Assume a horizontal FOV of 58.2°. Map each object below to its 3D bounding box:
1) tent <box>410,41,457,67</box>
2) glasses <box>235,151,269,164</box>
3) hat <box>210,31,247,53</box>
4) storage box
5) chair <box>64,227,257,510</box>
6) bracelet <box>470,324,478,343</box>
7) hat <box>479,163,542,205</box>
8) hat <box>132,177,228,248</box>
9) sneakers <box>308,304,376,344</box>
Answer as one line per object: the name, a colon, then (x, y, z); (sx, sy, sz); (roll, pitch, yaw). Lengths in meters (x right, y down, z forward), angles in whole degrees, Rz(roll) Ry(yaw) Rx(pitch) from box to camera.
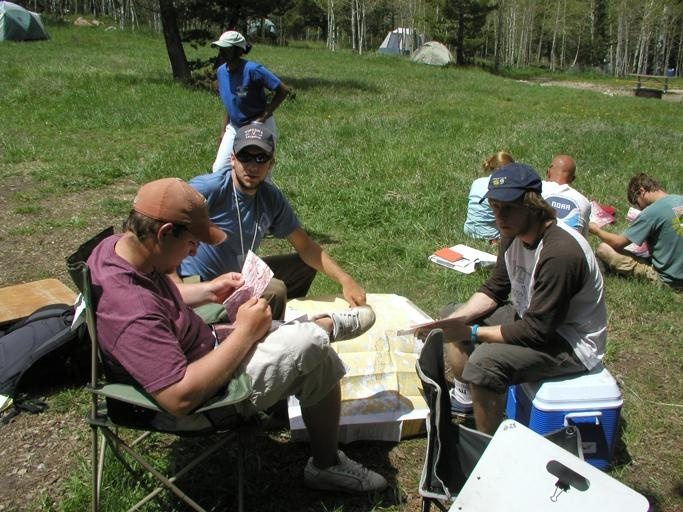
tent: (6.354, -14.205, 42.809); (2.614, 1.342, 3.639); (1, 22, -2)
glasses: (-0.709, -0.795, 4.922); (0.255, 0.099, 0.062); (-2, 21, -11)
hat: (-1.472, -2.848, 8.139); (0.404, 0.289, 0.633); (-3, 22, -12)
storage box: (1.742, 1.110, 4.726); (0.666, 0.691, 1.016); (1, 11, 2)
chair: (-1.162, 0.809, 4.003); (1.150, 1.908, 1.272); (2, 20, -5)
bracelet: (1.022, 0.601, 4.738); (0.067, 0.114, 0.117); (11, -8, 10)
hat: (1.258, -0.557, 4.598); (0.377, 0.218, 0.276); (-12, 11, -30)
hat: (-1.016, -0.274, 3.846); (0.537, 0.393, 0.249); (-6, 22, -20)
sneakers: (-0.042, 0.486, 4.381); (0.553, 0.207, 0.222); (-14, -5, -14)
